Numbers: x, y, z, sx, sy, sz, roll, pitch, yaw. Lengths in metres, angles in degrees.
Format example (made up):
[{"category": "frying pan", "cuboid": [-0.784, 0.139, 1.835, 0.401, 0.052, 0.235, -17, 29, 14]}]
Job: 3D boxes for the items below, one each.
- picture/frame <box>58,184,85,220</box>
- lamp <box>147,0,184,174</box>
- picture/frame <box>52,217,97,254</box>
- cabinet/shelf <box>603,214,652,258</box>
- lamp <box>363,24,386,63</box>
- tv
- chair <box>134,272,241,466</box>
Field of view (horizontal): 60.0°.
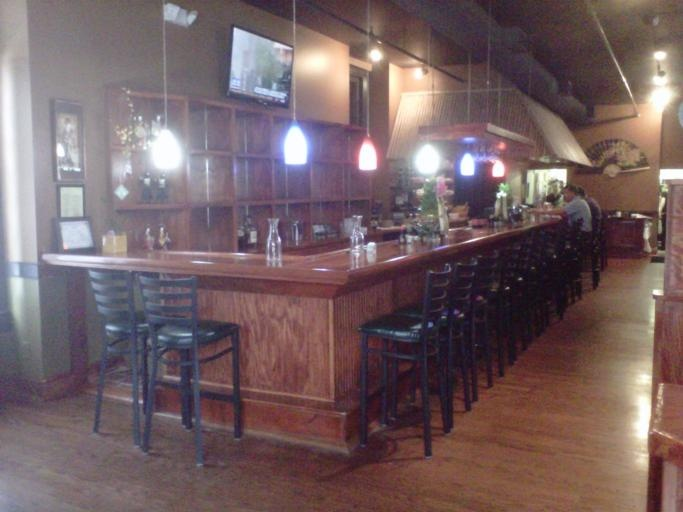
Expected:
[{"category": "picture/frame", "cuboid": [-2.447, -0.494, 5.371, 0.220, 0.323, 0.016, -3, -13, -23]}, {"category": "lamp", "cuboid": [-1.678, -1.631, 5.602, 0.356, 1.677, 1.101, -3, 11, -15]}, {"category": "picture/frame", "cuboid": [-2.415, -0.189, 5.299, 0.148, 0.300, 0.276, -20, -14, 39]}, {"category": "cabinet/shelf", "cuboid": [7.044, -0.827, 14.710, 0.928, 1.194, 1.269, 5, 35, 32]}, {"category": "lamp", "cuboid": [0.476, -3.104, 8.464, 0.296, 0.582, 0.218, -4, -29, 20]}, {"category": "tv", "cuboid": [-0.954, -2.139, 6.733, 0.145, 0.866, 1.095, 9, 8, 33]}, {"category": "chair", "cuboid": [-1.220, 0.745, 4.594, 0.817, 1.318, 1.021, -10, 15, -42]}]
